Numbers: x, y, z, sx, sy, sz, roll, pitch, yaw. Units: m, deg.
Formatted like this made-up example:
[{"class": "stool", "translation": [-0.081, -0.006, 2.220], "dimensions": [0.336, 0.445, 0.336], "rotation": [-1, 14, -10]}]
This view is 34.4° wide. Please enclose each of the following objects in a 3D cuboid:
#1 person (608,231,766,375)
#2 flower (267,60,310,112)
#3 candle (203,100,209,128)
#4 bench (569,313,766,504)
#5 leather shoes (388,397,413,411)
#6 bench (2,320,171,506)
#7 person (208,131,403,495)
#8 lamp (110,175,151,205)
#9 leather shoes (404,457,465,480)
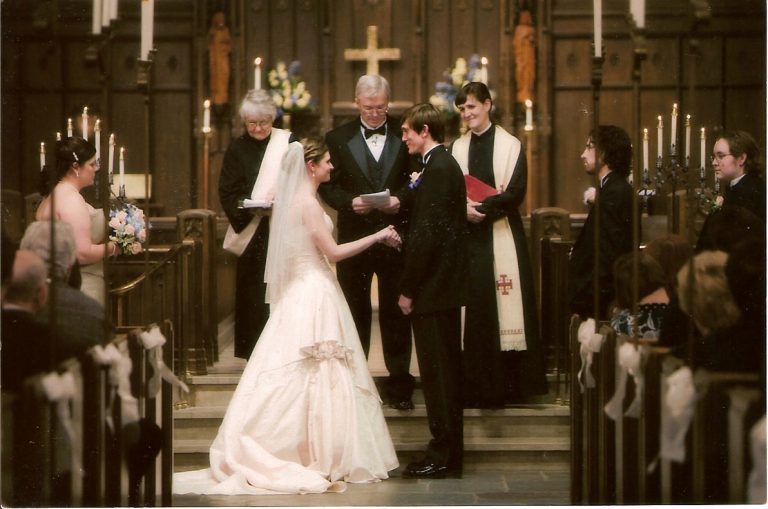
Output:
[{"class": "person", "translation": [2.362, 0.416, 8.995], "dimensions": [0.702, 0.840, 0.881], "rotation": [-3, -7, -3]}, {"class": "flower", "translation": [-0.987, -1.714, 12.754], "dimensions": [0.381, 0.560, 0.248], "rotation": [-3, -13, -6]}, {"class": "candle", "translation": [-1.662, -1.327, 11.606], "dimensions": [0.039, 0.173, 0.150], "rotation": [-1, 1, -18]}, {"class": "bench", "translation": [1.929, 1.132, 8.615], "dimensions": [1.251, 1.377, 0.780], "rotation": [-1, 1, 9]}, {"class": "leather shoes", "translation": [0.133, 1.192, 9.902], "dimensions": [0.222, 0.095, 0.083], "rotation": [3, -5, 30]}, {"class": "bench", "translation": [-2.256, 1.113, 8.776], "dimensions": [1.220, 1.063, 0.528], "rotation": [0, 1, 23]}, {"class": "person", "translation": [-0.612, 0.435, 9.356], "dimensions": [1.351, 2.625, 0.533], "rotation": [-1, 0, -6]}, {"class": "lamp", "translation": [-2.344, -0.599, 11.391], "dimensions": [0.381, 0.260, 0.194], "rotation": [0, -5, -12]}, {"class": "leather shoes", "translation": [0.370, 1.604, 9.443], "dimensions": [0.453, 0.182, 0.168], "rotation": [5, -8, -4]}]
